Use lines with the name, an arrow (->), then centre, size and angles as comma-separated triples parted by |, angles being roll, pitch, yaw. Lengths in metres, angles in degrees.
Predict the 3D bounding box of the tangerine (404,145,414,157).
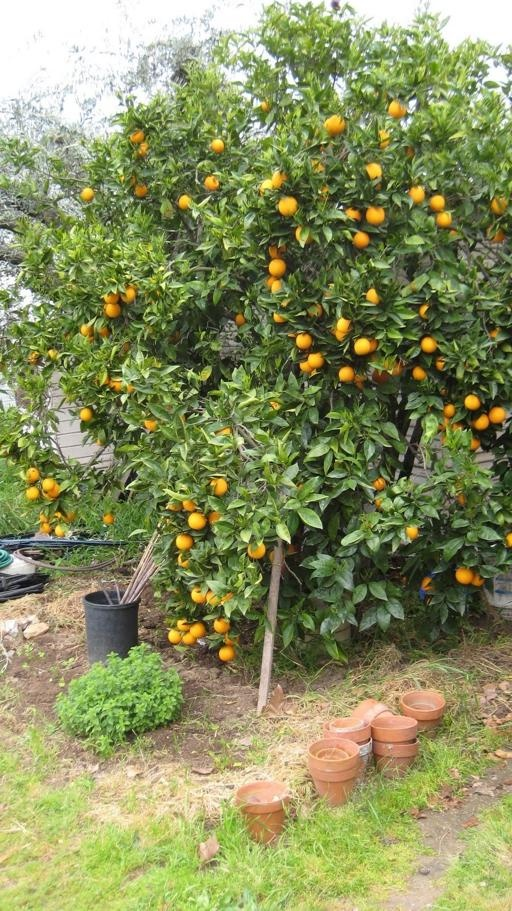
tangerine -> 0.710, -1.406, 3.122 | 0.049, 0.054, 0.035 | -5, 6, -3

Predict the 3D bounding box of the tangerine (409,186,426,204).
tangerine -> 0.740, -1.191, 3.086 | 0.072, 0.069, 0.136 | -3, 6, 15

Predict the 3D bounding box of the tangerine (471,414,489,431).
tangerine -> 1.052, -0.160, 3.130 | 0.088, 0.063, 0.063 | -6, 6, -4

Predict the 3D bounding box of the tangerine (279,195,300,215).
tangerine -> 0.139, -1.103, 2.981 | 0.076, 0.095, 0.078 | 20, 43, 30

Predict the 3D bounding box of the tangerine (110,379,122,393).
tangerine -> -0.689, -0.345, 3.307 | 0.046, 0.047, 0.047 | 7, -33, 16

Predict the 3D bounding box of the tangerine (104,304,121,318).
tangerine -> -0.729, -0.736, 3.418 | 0.067, 0.081, 0.068 | 3, 14, -7

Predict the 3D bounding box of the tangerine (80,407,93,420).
tangerine -> -0.900, -0.218, 3.516 | 0.061, 0.075, 0.063 | 2, 19, 18

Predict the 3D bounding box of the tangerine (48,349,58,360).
tangerine -> -1.125, -0.557, 3.719 | 0.058, 0.058, 0.046 | -5, 6, 2

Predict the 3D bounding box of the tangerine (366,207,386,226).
tangerine -> 0.551, -1.082, 3.081 | 0.075, 0.076, 0.092 | 1, -15, 17

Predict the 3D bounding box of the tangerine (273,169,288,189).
tangerine -> 0.098, -1.209, 2.949 | 0.061, 0.062, 0.075 | 9, -30, 8

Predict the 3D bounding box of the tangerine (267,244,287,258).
tangerine -> 0.094, -0.994, 3.280 | 0.063, 0.060, 0.077 | -2, -28, 5

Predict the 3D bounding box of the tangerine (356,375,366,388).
tangerine -> 0.508, -0.366, 3.246 | 0.042, 0.042, 0.051 | -23, -38, -1

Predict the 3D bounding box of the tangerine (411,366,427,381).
tangerine -> 0.773, -0.392, 3.183 | 0.051, 0.051, 0.061 | -28, -38, -11

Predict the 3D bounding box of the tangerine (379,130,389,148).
tangerine -> 0.568, -1.417, 2.992 | 0.044, 0.072, 0.138 | -4, 6, 12

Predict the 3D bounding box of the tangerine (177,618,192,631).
tangerine -> -0.361, 0.832, 3.306 | 0.054, 0.055, 0.064 | -4, -23, 17

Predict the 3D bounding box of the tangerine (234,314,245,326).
tangerine -> -0.092, -0.754, 3.746 | 0.045, 0.076, 0.184 | -6, 6, -7

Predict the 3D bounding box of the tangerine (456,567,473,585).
tangerine -> 0.978, 0.558, 3.152 | 0.077, 0.078, 0.076 | -3, 7, 18

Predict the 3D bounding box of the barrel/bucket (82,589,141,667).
barrel/bucket -> -0.752, 0.922, 3.555 | 0.279, 0.440, 0.284 | 3, 16, -1

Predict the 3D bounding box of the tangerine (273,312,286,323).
tangerine -> 0.115, -0.651, 3.183 | 0.051, 0.044, 0.043 | 34, -29, -23

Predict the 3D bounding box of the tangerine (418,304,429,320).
tangerine -> 0.752, -0.639, 3.026 | 0.048, 0.059, 0.049 | 10, 17, 39

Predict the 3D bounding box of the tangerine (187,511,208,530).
tangerine -> -0.246, 0.274, 2.858 | 0.075, 0.077, 0.090 | -1, -37, 1

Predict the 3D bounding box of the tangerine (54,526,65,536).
tangerine -> -1.099, 0.418, 3.751 | 0.046, 0.047, 0.057 | 7, -42, 9

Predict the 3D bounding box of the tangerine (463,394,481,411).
tangerine -> 0.982, -0.240, 3.081 | 0.069, 0.071, 0.083 | -17, -35, 20

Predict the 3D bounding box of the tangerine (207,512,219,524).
tangerine -> -0.180, 0.273, 2.833 | 0.050, 0.060, 0.049 | -1, 31, -3

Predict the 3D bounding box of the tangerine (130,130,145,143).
tangerine -> -0.656, -1.762, 3.738 | 0.059, 0.072, 0.060 | 24, 37, -9

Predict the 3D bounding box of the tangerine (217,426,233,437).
tangerine -> -0.138, -0.106, 2.928 | 0.056, 0.032, 0.044 | -6, 1, -36

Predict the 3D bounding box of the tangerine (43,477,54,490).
tangerine -> -1.097, 0.146, 3.555 | 0.054, 0.065, 0.054 | -2, 14, 0

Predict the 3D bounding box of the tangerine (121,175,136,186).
tangerine -> -0.736, -1.585, 3.875 | 0.060, 0.062, 0.071 | 8, -22, 1

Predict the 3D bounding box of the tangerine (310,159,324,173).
tangerine -> 0.272, -1.286, 2.989 | 0.068, 0.083, 0.069 | 3, 26, 8

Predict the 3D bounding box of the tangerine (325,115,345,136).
tangerine -> 0.354, -1.485, 3.022 | 0.070, 0.073, 0.085 | -33, -16, -23

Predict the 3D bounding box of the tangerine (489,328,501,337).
tangerine -> 1.101, -0.567, 3.094 | 0.036, 0.049, 0.036 | 23, 21, -16

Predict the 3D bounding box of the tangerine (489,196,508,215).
tangerine -> 1.085, -1.122, 3.018 | 0.056, 0.057, 0.069 | 8, -43, 1

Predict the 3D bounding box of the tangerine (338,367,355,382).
tangerine -> 0.420, -0.382, 3.166 | 0.070, 0.069, 0.085 | -9, -39, -5

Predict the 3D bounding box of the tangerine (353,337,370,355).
tangerine -> 0.472, -0.490, 2.992 | 0.072, 0.073, 0.098 | -4, 6, 8

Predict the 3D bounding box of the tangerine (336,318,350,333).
tangerine -> 0.382, -0.574, 2.953 | 0.056, 0.062, 0.062 | -4, 6, 11

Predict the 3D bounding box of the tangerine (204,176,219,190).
tangerine -> -0.253, -1.536, 3.759 | 0.075, 0.087, 0.153 | -5, 6, -3

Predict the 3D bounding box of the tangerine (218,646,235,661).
tangerine -> -0.141, 0.952, 3.203 | 0.058, 0.095, 0.105 | -5, 6, 2
